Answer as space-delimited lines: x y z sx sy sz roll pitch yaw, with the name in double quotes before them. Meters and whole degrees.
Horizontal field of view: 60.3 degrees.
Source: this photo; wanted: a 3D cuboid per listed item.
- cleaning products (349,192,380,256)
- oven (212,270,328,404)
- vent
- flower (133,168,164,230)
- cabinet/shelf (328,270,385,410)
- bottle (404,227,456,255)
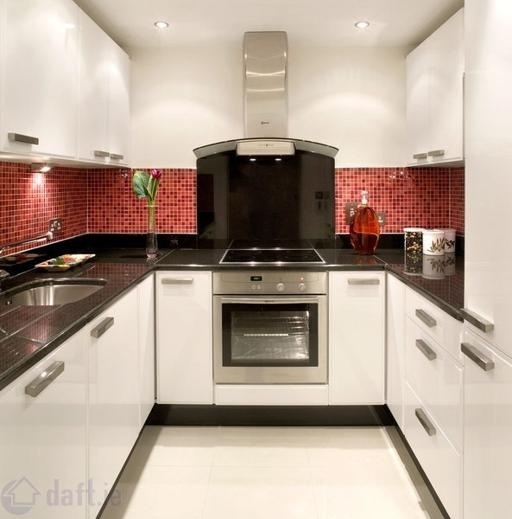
"cleaning products" 0.693 -0.221 2.760 0.211 0.390 0.156 -4 7 -35
"oven" 0.092 0.565 2.653 0.680 0.819 0.593 4 -31 -6
"vent" 0.100 -0.987 2.966 0.671 0.628 0.777 0 5 1
"flower" -0.693 -0.354 2.801 0.185 0.437 0.204 -7 -10 35
"cabinet/shelf" 0.570 0.387 2.608 0.367 0.748 0.434 3 14 11
"bottle" 0.993 -0.110 2.436 0.187 0.102 0.199 0 0 0
